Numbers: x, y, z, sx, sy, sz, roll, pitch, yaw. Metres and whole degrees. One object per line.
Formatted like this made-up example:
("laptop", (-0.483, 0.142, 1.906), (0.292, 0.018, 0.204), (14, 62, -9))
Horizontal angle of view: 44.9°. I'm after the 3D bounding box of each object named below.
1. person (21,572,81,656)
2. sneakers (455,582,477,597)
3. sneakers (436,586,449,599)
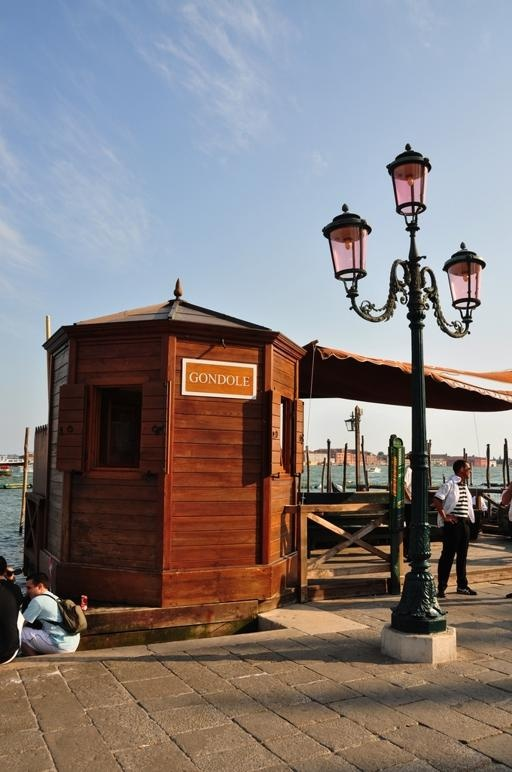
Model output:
("person", (-1.897, 2.085, 5.661), (0.492, 0.715, 0.232), (2, -9, -17))
("sneakers", (2.732, 2.662, 8.021), (0.255, 0.110, 0.104), (-4, -5, 21))
("sneakers", (2.356, 2.610, 7.803), (0.142, 0.141, 0.147), (0, -3, 9))
